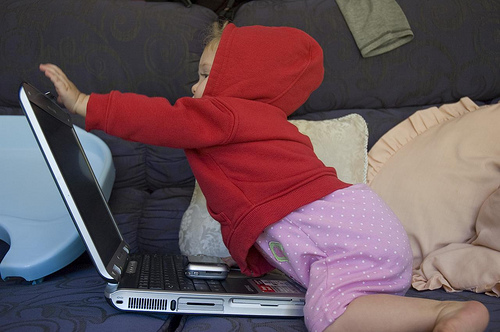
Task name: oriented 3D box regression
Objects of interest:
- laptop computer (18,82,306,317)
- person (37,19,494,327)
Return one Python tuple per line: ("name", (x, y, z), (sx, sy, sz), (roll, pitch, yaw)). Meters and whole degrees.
("laptop computer", (-0.222, 0.134, 1.184), (0.868, 0.584, 0.496), (8, 87, -11))
("person", (-0.035, 0.041, 1.281), (1.204, 0.706, 0.853), (19, 16, 9))
